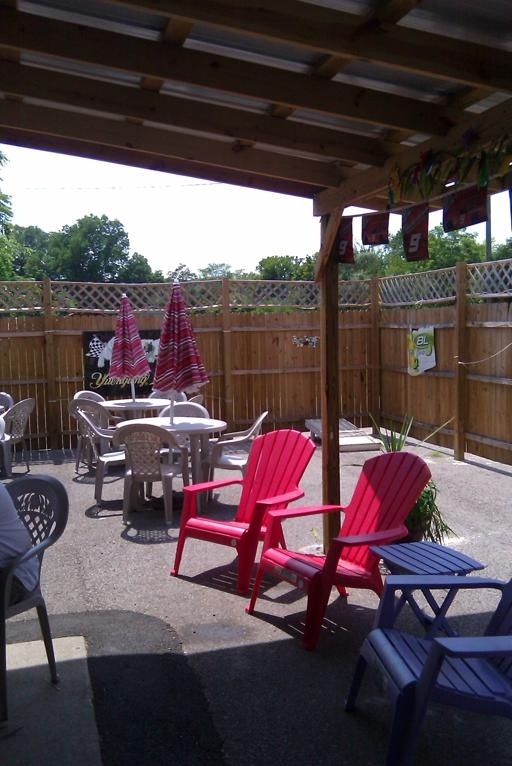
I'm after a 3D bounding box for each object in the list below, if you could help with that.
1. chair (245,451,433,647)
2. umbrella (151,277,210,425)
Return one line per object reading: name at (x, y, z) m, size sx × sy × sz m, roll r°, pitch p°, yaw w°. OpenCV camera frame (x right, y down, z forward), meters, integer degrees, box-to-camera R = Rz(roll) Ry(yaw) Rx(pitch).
chair at (0.502, 0.786, 3.084) m, size 0.968 × 0.940 × 0.810 m, roll -3°, pitch 5°, yaw -30°
umbrella at (-0.689, -0.415, 5.094) m, size 0.467 × 0.938 × 0.220 m, roll 0°, pitch 0°, yaw 7°
